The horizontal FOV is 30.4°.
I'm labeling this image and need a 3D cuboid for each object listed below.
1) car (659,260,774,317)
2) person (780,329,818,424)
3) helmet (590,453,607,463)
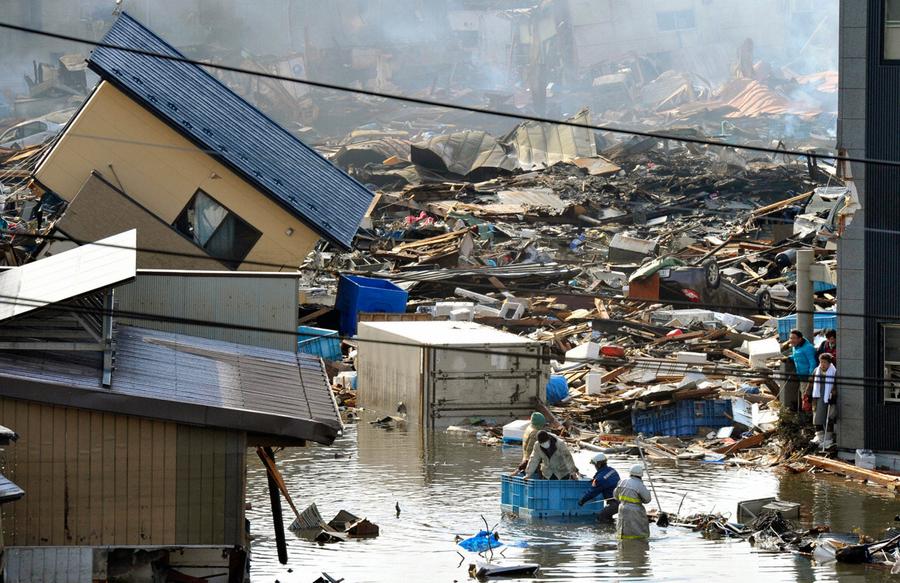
[{"bbox_3d":[12.201,-0.370,77.979,5.002,2.609,1.750,-5,-16,15],"label":"car"},{"bbox_3d":[13.315,2.748,62.247,1.149,3.674,1.369,6,-2,-24],"label":"person"},{"bbox_3d":[5.243,5.843,58.695,0.471,0.265,0.343,5,4,24],"label":"helmet"}]
